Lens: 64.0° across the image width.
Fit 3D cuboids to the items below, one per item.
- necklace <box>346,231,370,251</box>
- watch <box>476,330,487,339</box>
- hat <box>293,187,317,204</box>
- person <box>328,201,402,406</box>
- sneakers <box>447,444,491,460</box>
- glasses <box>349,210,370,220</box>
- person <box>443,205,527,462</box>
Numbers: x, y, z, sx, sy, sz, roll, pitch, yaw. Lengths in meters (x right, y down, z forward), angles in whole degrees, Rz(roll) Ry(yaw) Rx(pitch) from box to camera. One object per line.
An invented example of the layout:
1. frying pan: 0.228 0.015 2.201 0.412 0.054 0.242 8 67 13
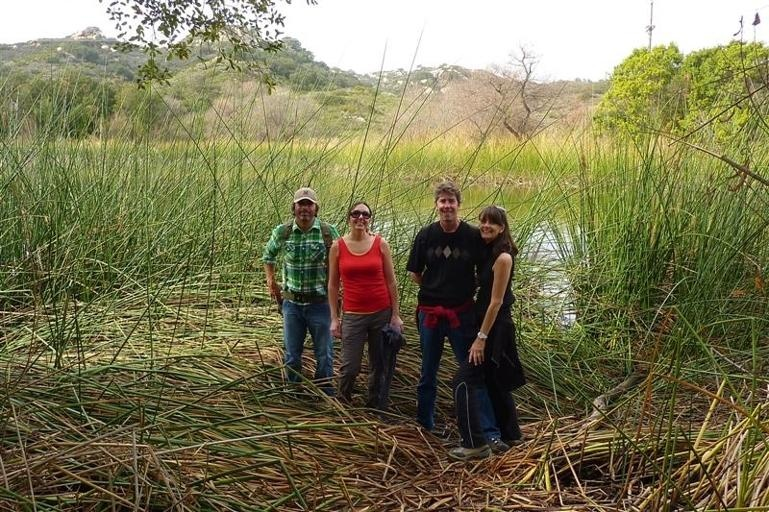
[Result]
1. necklace: -0.212 -0.121 5.136 0.194 0.297 0.161 1 -5 -2
2. watch: 0.770 0.632 4.841 0.077 0.050 0.074 35 12 5
3. hat: -0.667 -0.508 5.234 0.205 0.132 0.178 -2 13 -24
4. person: -0.162 0.410 5.135 0.627 1.694 0.386 2 11 -5
5. sneakers: 0.670 1.539 4.862 0.324 0.162 0.127 3 -5 2
6. glasses: -0.203 -0.338 5.033 0.158 0.069 0.064 5 12 4
7. person: 0.866 0.603 4.805 0.562 1.933 0.530 6 12 13
